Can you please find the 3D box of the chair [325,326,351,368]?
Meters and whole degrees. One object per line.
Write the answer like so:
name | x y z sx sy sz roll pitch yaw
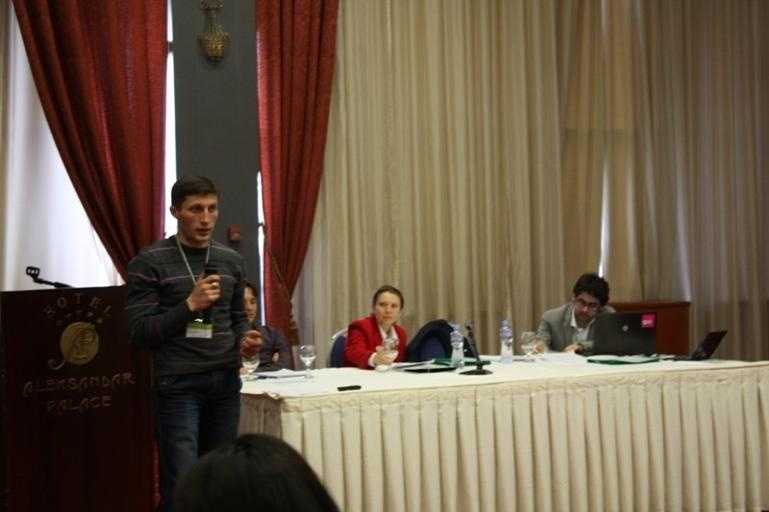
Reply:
chair | -0.336 0.700 5.533 0.216 0.321 0.235 -5 -9 35

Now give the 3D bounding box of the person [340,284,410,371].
person | -0.071 0.590 5.319 0.445 0.874 0.522 9 -22 -24

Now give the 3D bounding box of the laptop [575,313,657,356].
laptop | 1.720 0.566 5.271 0.401 0.326 0.303 0 -1 -3

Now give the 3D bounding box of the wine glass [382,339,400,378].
wine glass | 0.054 0.684 5.083 0.131 0.258 0.162 1 -11 0

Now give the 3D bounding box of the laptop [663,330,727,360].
laptop | 2.253 0.666 5.280 0.380 0.266 0.390 2 -5 -35
